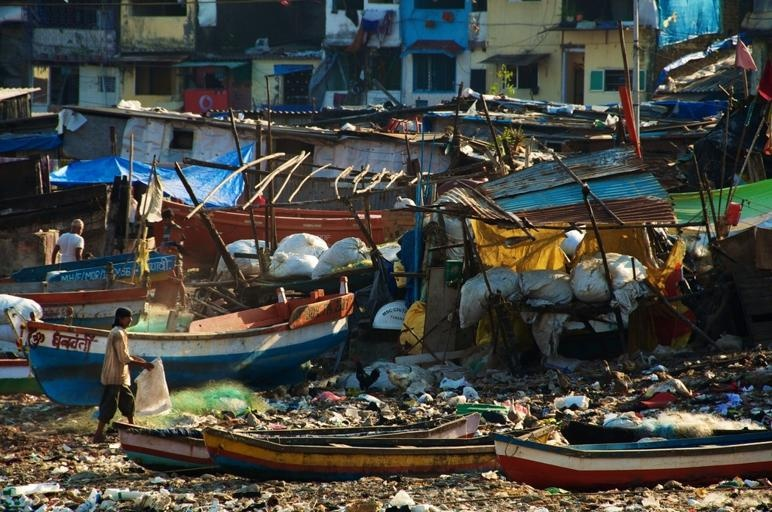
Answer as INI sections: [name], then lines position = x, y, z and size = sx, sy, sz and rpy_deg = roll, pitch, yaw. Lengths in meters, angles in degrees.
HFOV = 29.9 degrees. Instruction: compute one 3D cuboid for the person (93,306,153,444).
[person]
position = -5.346, 2.359, 29.149
size = 1.114, 2.657, 0.928
rpy_deg = -5, 7, -29
